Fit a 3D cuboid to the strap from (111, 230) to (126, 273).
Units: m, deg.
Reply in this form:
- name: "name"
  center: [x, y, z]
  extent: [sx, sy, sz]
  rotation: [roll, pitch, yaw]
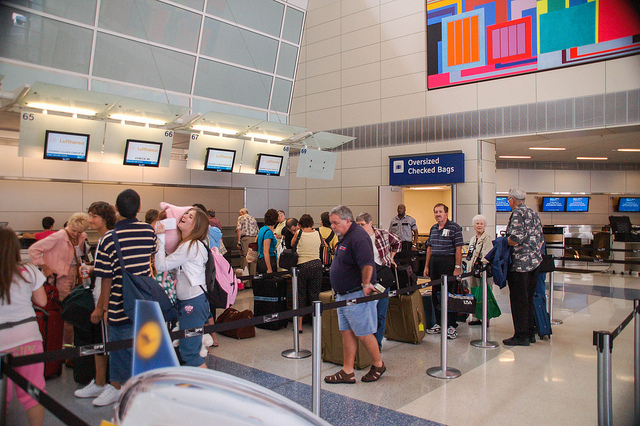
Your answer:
- name: "strap"
  center: [-2.540, 0.476, 5.849]
  extent: [0.080, 0.426, 0.247]
  rotation: [-20, 7, 1]

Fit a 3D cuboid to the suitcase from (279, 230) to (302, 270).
- name: "suitcase"
  center: [-0.509, 0.677, 8.469]
  extent: [0.391, 0.351, 0.808]
  rotation: [12, -36, 9]

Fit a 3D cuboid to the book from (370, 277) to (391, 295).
- name: "book"
  center: [0.878, 1.067, 6.805]
  extent: [0.149, 0.056, 0.247]
  rotation: [35, 35, 29]

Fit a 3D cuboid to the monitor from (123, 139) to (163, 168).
- name: "monitor"
  center: [-3.669, -1.215, 9.654]
  extent: [0.825, 0.545, 0.086]
  rotation: [6, -3, 12]

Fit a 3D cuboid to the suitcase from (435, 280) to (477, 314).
- name: "suitcase"
  center: [2.309, 1.409, 7.860]
  extent: [0.636, 0.567, 0.290]
  rotation: [7, -5, -19]

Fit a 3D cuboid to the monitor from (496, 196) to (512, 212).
- name: "monitor"
  center: [6.964, -0.327, 17.729]
  extent: [0.466, 0.578, 0.569]
  rotation: [1, 2, 21]

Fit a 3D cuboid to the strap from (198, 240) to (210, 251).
- name: "strap"
  center: [-1.501, 0.422, 5.991]
  extent: [0.134, 0.144, 0.052]
  rotation: [-1, 2, -30]

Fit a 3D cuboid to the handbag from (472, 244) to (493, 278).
- name: "handbag"
  center: [2.800, 0.873, 8.015]
  extent: [0.317, 0.587, 0.720]
  rotation: [1, 2, 18]

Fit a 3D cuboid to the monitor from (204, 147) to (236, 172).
- name: "monitor"
  center: [-2.259, -1.184, 10.433]
  extent: [0.095, 0.515, 0.767]
  rotation: [20, 13, 40]

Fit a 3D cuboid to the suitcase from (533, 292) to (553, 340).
- name: "suitcase"
  center: [3.825, 1.796, 8.143]
  extent: [0.412, 0.269, 0.925]
  rotation: [-31, 16, 38]

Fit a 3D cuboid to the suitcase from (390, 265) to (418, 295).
- name: "suitcase"
  center: [1.385, 1.085, 7.641]
  extent: [0.532, 0.515, 0.379]
  rotation: [-7, 7, 11]

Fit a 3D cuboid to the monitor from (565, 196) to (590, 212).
- name: "monitor"
  center: [10.058, -0.328, 18.229]
  extent: [1.039, 0.564, 0.156]
  rotation: [0, 2, -17]

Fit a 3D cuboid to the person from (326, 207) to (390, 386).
- name: "person"
  center: [0.534, 1.175, 6.693]
  extent: [0.842, 2.513, 1.108]
  rotation: [0, 2, -3]

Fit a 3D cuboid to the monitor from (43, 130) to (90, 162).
- name: "monitor"
  center: [-4.850, -1.298, 8.863]
  extent: [0.615, 0.424, 0.085]
  rotation: [3, 7, -41]

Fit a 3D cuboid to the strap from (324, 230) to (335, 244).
- name: "strap"
  center: [0.182, 0.479, 8.890]
  extent: [0.220, 0.237, 0.067]
  rotation: [-1, 2, -24]

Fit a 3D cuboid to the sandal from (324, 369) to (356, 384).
- name: "sandal"
  center: [0.280, 2.357, 6.700]
  extent: [0.394, 0.156, 0.177]
  rotation: [2, -8, 1]

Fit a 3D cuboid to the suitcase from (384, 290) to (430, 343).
- name: "suitcase"
  center: [1.433, 1.717, 8.082]
  extent: [0.664, 0.968, 0.571]
  rotation: [0, 19, 28]

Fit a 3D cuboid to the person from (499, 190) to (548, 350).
- name: "person"
  center: [3.386, 0.927, 7.843]
  extent: [0.604, 2.615, 0.845]
  rotation: [2, 3, 33]

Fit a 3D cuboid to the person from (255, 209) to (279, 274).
- name: "person"
  center: [-1.028, 0.574, 8.977]
  extent: [0.400, 1.271, 1.200]
  rotation: [0, 2, -8]

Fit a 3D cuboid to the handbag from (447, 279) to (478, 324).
- name: "handbag"
  center: [2.407, 1.428, 7.808]
  extent: [0.448, 0.404, 0.270]
  rotation: [-2, 10, 21]

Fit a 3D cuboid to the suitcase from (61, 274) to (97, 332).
- name: "suitcase"
  center: [-3.301, 1.240, 6.339]
  extent: [0.443, 0.671, 0.255]
  rotation: [0, 2, -11]

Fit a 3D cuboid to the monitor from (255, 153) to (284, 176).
- name: "monitor"
  center: [-1.233, -1.155, 11.144]
  extent: [0.279, 0.479, 0.689]
  rotation: [2, 3, 43]

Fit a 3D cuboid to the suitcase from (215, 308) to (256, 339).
- name: "suitcase"
  center: [-1.519, 1.980, 8.475]
  extent: [0.479, 0.575, 0.941]
  rotation: [7, -8, -41]

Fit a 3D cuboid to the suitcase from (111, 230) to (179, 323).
- name: "suitcase"
  center: [-2.426, 0.768, 6.034]
  extent: [0.459, 1.367, 0.583]
  rotation: [-15, -3, -18]

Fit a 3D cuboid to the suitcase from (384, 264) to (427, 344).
- name: "suitcase"
  center: [1.454, 1.607, 8.113]
  extent: [0.524, 1.330, 0.831]
  rotation: [-14, 8, -43]
